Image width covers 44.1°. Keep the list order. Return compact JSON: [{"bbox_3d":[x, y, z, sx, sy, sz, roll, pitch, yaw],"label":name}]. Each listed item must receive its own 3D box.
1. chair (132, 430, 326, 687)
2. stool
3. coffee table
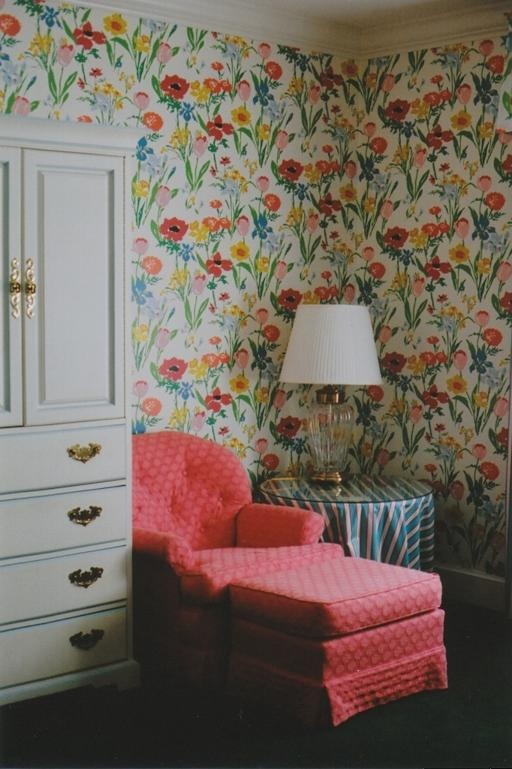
[{"bbox_3d":[-0.176,0.583,2.243,0.700,0.729,0.722,1,-4,-25],"label":"chair"},{"bbox_3d":[0.247,0.738,1.911,0.559,0.327,0.452,5,-7,-43],"label":"stool"},{"bbox_3d":[0.464,0.428,2.712,0.632,0.366,0.631,5,36,17],"label":"coffee table"}]
